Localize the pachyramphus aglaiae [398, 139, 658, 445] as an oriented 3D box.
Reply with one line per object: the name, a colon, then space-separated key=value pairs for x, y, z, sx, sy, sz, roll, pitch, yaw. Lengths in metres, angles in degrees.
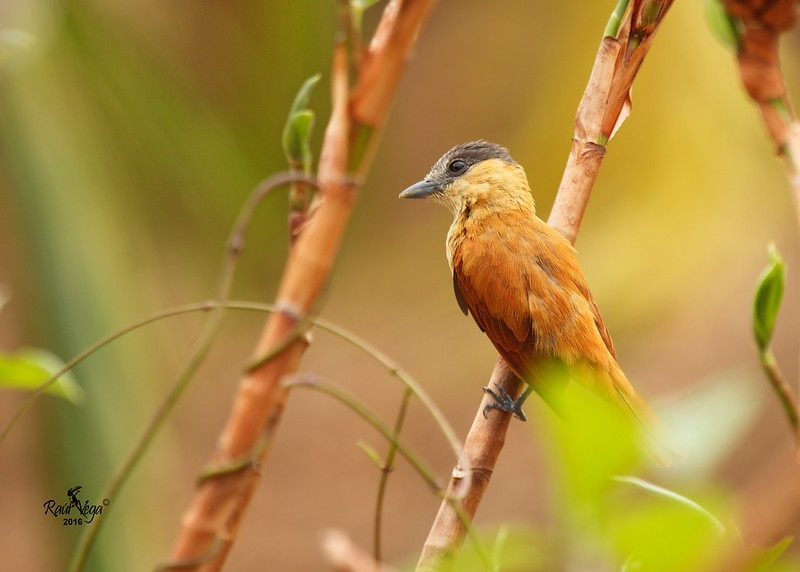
pachyramphus aglaiae: x=0.358 y=-0.021 z=2.648 sx=0.410 sy=1.240 sz=0.547 roll=-28 pitch=-57 yaw=11
